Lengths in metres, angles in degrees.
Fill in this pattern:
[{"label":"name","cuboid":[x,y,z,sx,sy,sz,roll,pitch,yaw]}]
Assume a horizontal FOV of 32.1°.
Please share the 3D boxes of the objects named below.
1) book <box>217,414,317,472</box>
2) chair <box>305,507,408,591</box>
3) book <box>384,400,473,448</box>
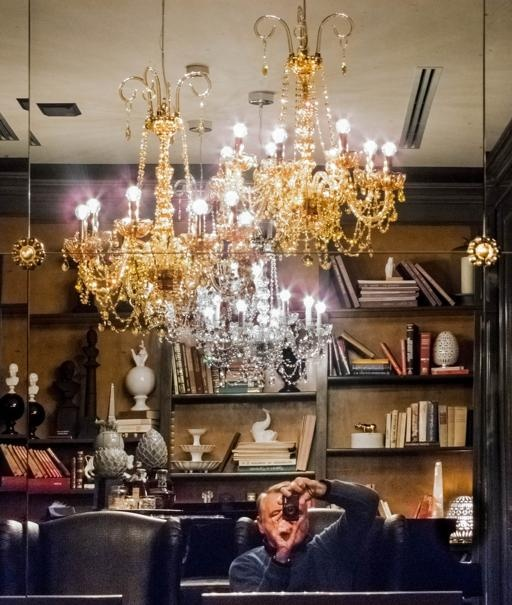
[{"label":"book","cuboid":[0.040,0.345,2.196,0.166,0.116,0.118,1,-18,3]},{"label":"chair","cuboid":[0.255,0.625,2.276,0.207,0.254,0.219,1,-17,6]},{"label":"book","cuboid":[0.434,0.312,2.270,0.209,0.114,0.020,1,-5,-1]}]
